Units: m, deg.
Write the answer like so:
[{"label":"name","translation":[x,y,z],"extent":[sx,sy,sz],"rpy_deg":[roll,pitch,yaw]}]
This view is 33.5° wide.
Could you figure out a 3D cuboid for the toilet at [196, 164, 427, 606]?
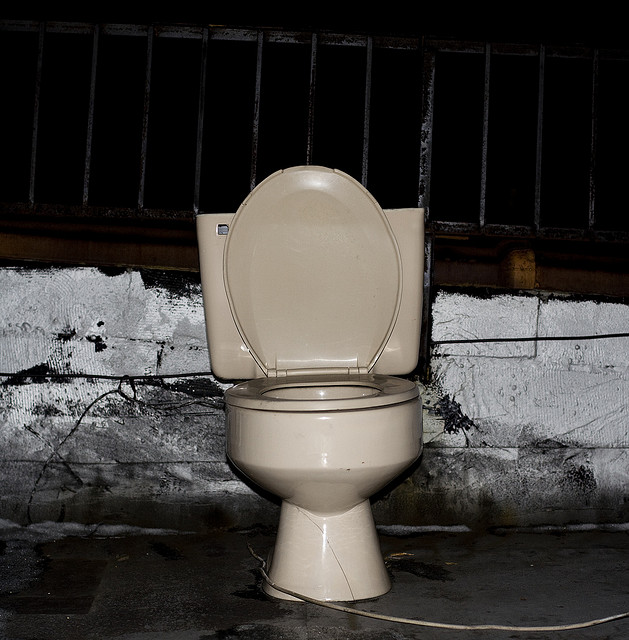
[{"label":"toilet","translation":[0.013,0.155,2.716],"extent":[0.617,1.120,0.453],"rpy_deg":[-1,5,-7]}]
